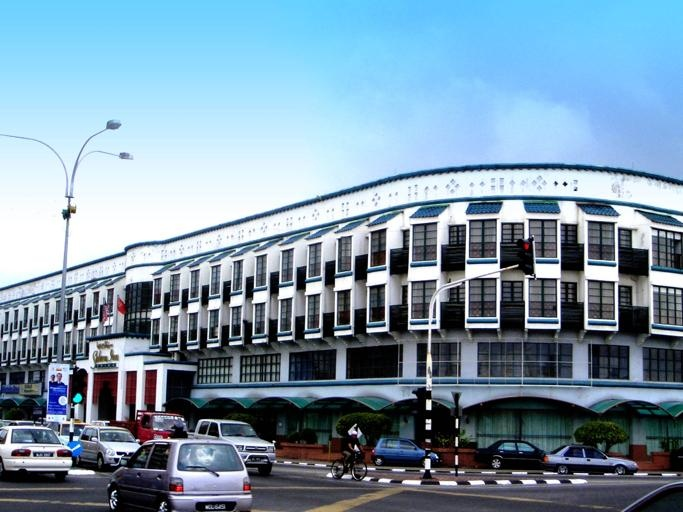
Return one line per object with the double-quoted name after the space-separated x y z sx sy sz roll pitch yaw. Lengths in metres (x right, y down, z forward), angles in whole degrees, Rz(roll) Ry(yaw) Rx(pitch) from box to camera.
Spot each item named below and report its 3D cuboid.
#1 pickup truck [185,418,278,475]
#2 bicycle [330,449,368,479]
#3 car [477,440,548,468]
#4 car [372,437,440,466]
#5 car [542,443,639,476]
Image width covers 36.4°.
-5.611 9.377 51.477 2.674 2.376 4.940 6 -10 -33 "pickup truck"
0.387 10.078 50.009 1.542 1.399 2.021 7 -16 -29 "bicycle"
9.406 10.886 56.985 3.192 0.987 1.537 -2 -3 7 "car"
3.247 10.919 57.621 5.260 2.100 2.459 -1 -12 10 "car"
13.310 10.893 55.242 4.400 1.180 1.855 -1 -2 0 "car"
